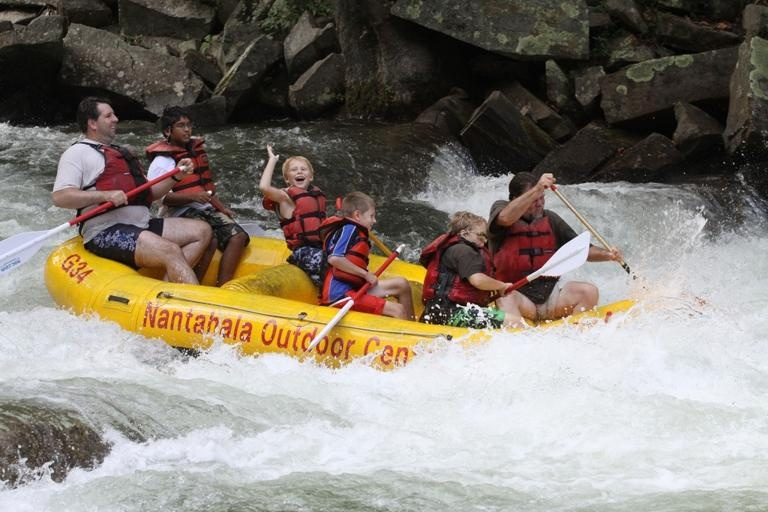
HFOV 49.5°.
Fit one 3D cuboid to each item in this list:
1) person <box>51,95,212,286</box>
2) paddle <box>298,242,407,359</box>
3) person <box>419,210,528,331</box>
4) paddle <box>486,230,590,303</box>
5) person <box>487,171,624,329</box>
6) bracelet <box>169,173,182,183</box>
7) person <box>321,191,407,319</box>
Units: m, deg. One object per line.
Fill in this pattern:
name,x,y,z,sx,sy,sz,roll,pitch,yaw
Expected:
person,-2.264,-0.502,7.935,1.535,1.896,1.116,6,11,0
paddle,-0.313,0.417,7.305,0.070,0.226,1.657,-32,10,47
person,0.760,0.163,7.490,0.915,1.059,0.818,11,-12,-14
paddle,1.337,0.133,7.377,1.103,0.324,0.156,-33,-31,30
person,1.440,0.083,7.458,1.185,1.559,1.302,0,3,-36
bracelet,-1.963,-0.733,7.795,0.076,0.025,0.076,28,9,7
person,-0.108,0.084,7.682,1.022,1.327,0.721,4,-1,-7
